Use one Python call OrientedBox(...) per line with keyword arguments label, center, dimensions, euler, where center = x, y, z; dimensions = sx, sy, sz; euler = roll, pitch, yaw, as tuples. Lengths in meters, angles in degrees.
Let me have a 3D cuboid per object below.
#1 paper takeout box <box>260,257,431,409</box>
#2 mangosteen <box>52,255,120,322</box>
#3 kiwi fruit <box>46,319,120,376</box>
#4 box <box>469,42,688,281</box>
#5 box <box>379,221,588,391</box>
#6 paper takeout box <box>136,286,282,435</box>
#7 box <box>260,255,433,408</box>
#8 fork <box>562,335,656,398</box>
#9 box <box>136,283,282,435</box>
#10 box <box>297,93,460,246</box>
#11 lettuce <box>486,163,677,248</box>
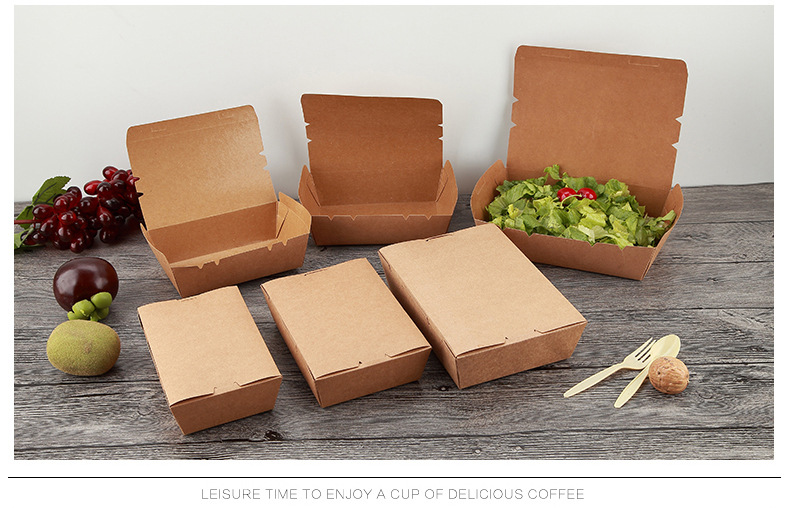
OrientedBox(label="paper takeout box", center=(-0.130, 0.234, 1.682), dimensions=(0.344, 0.101, 0.350), euler=(-9, 28, -17))
OrientedBox(label="mangosteen", center=(-0.838, 0.097, 1.775), dimensions=(0.161, 0.171, 0.135), euler=(-11, 22, -22))
OrientedBox(label="kiwi fruit", center=(-0.770, 0.231, 1.619), dimensions=(0.186, 0.093, 0.117), euler=(3, 76, -9))
OrientedBox(label="box", center=(0.563, -0.269, 1.953), dimensions=(0.594, 0.490, 0.476), euler=(20, 57, 27))
OrientedBox(label="box", center=(0.204, 0.106, 1.692), dimensions=(0.409, 0.143, 0.446), euler=(-17, 43, -19))
OrientedBox(label="paper takeout box", center=(-0.457, 0.303, 1.618), dimensions=(0.254, 0.120, 0.277), euler=(-12, 32, -27))
OrientedBox(label="box", center=(-0.135, 0.242, 1.689), dimensions=(0.336, 0.111, 0.377), euler=(-17, 30, -34))
OrientedBox(label="fork", center=(0.549, 0.295, 1.679), dimensions=(0.269, 0.036, 0.042), euler=(-26, 44, -16))
OrientedBox(label="box", center=(-0.445, 0.241, 1.574), dimensions=(0.316, 0.159, 0.347), euler=(-16, 50, -18))
OrientedBox(label="box", center=(-0.078, -0.188, 2.155), dimensions=(0.686, 0.433, 0.418), euler=(-5, 60, -4))
OrientedBox(label="lettuce", center=(0.554, -0.127, 1.932), dimensions=(0.456, 0.123, 0.244), euler=(8, 40, 14))
